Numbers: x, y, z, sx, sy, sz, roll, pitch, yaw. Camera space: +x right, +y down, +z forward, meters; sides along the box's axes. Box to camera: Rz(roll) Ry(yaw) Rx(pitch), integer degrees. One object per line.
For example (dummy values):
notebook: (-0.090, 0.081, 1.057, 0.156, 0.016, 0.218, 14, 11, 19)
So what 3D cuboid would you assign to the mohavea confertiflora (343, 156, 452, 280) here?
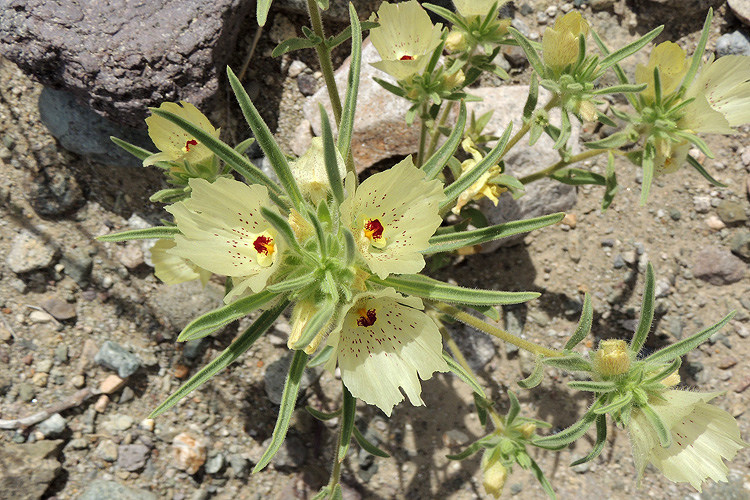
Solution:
mohavea confertiflora: (0.119, -0.281, 5.166, 0.699, 0.301, 0.754, 25, 81, 3)

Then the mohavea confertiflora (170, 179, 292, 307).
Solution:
mohavea confertiflora: (-1.123, -0.167, 5.198, 0.731, 0.315, 0.695, -6, 81, -2)

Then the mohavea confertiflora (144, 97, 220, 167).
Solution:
mohavea confertiflora: (-1.562, -0.865, 5.814, 0.697, 0.325, 0.685, 2, 78, 30)

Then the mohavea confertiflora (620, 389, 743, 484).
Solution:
mohavea confertiflora: (2.475, 1.345, 5.841, 0.785, 0.310, 0.788, 34, 108, -1)

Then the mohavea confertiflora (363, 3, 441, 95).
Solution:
mohavea confertiflora: (0.253, -1.635, 6.080, 0.628, 0.399, 0.634, -3, 69, 18)

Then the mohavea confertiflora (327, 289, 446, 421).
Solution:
mohavea confertiflora: (0.092, 0.713, 5.224, 0.769, 0.285, 0.844, -16, 81, -4)

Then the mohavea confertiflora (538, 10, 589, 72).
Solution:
mohavea confertiflora: (1.660, -1.763, 5.997, 0.455, 1.013, 0.429, 15, 111, 15)
